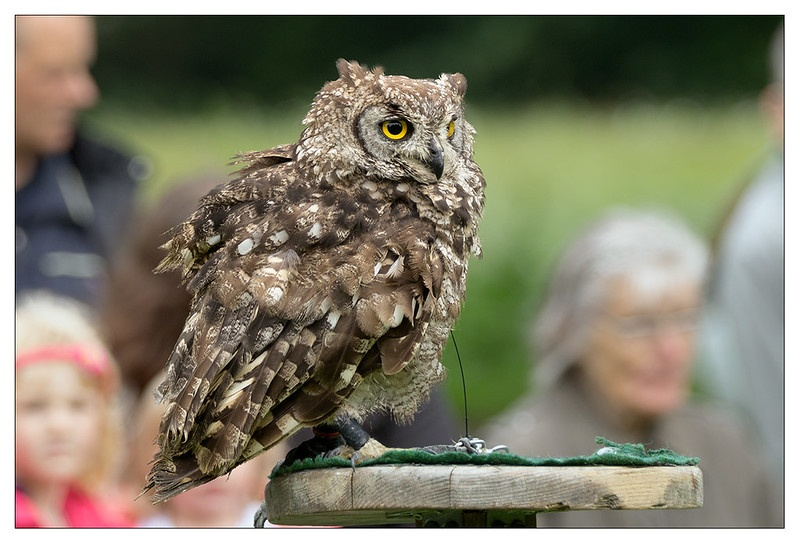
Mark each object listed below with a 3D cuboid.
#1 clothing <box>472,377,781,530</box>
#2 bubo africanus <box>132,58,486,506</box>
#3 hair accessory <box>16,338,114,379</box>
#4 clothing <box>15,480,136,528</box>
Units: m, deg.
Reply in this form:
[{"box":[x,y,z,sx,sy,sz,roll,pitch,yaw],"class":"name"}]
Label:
[{"box":[1.760,1.363,10.617,2.195,1.025,1.132,2,-11,-3],"class":"clothing"},{"box":[-0.534,0.061,8.726,2.243,2.317,1.476,-5,6,-12],"class":"bubo africanus"},{"box":[-2.446,0.643,9.986,0.652,0.241,0.081,0,-6,1],"class":"hair accessory"},{"box":[-2.361,1.703,9.971,0.830,0.286,0.191,2,-6,-13],"class":"clothing"}]
